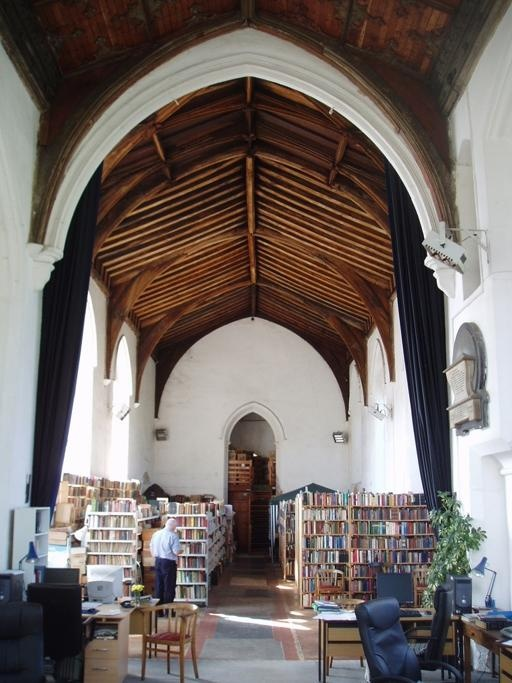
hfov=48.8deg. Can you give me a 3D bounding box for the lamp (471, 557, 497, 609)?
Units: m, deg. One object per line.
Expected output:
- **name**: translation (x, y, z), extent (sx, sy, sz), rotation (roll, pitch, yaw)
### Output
- **lamp**: translation (2.027, 2.124, 4.983), extent (0.212, 0.436, 0.577), rotation (-7, -16, 21)

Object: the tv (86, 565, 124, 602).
- **tv**: translation (-1.425, 2.279, 5.321), extent (0.352, 0.368, 0.204), rotation (1, -6, -1)
